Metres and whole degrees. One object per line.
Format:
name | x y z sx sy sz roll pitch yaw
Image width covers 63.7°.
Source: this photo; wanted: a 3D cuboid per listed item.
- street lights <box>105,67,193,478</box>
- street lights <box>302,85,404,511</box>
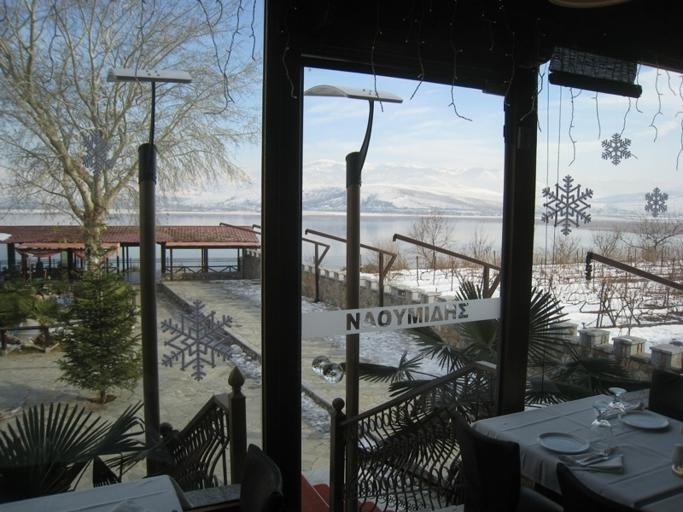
street lights | -1.002 -0.015 2.858 0.396 1.869 0.118 0 2 -24
street lights | 0.021 0.365 3.472 0.632 2.741 0.424 0 2 -17
